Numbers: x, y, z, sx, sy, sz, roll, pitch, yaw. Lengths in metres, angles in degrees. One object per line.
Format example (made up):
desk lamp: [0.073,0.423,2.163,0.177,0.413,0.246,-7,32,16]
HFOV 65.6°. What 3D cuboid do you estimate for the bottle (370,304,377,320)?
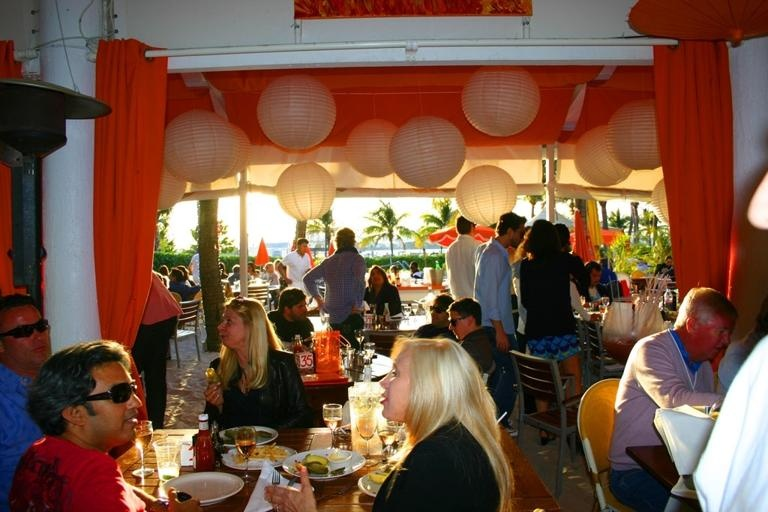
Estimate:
bottle: [-0.133,0.685,7.510,0.097,0.192,0.109,-1,-2,8]

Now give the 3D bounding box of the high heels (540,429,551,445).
high heels: [1.666,1.872,6.121,0.097,0.063,0.182,-2,11,13]

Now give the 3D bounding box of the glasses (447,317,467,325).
glasses: [0.646,0.574,5.290,0.049,0.060,0.156,-1,0,-34]

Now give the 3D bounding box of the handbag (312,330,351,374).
handbag: [-0.439,0.868,5.339,0.335,0.352,0.280,3,-5,-37]

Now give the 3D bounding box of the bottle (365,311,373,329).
bottle: [-0.173,0.759,6.942,0.099,0.190,0.145,-1,0,1]

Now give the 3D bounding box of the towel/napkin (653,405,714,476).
towel/napkin: [1.396,0.850,2.758,0.202,0.273,0.182,-1,0,-20]

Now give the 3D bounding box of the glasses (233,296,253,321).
glasses: [-1.027,0.395,4.332,0.118,0.165,0.164,2,-41,-1]

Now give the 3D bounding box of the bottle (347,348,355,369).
bottle: [-0.299,0.919,5.309,0.100,0.170,0.100,0,-14,0]
